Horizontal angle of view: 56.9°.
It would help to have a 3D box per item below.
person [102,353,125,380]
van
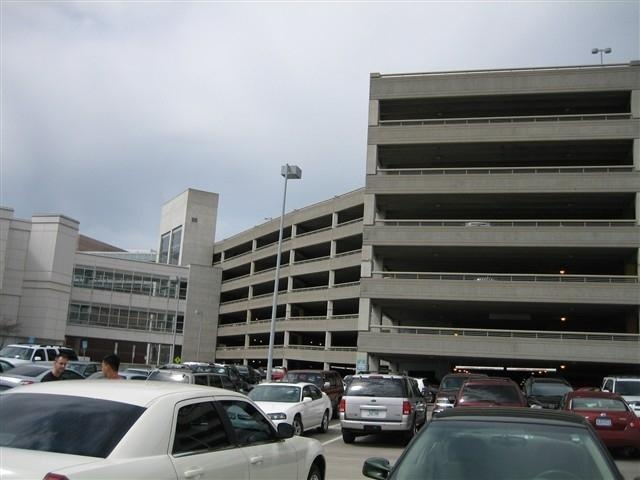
[{"bbox_3d":[-3.445,2.104,9.844,0.267,0.425,0.943,8,-17,-18],"label":"person"},{"bbox_3d":[1.988,4.712,17.318,1.456,1.084,2.736,-2,-7,18],"label":"van"}]
